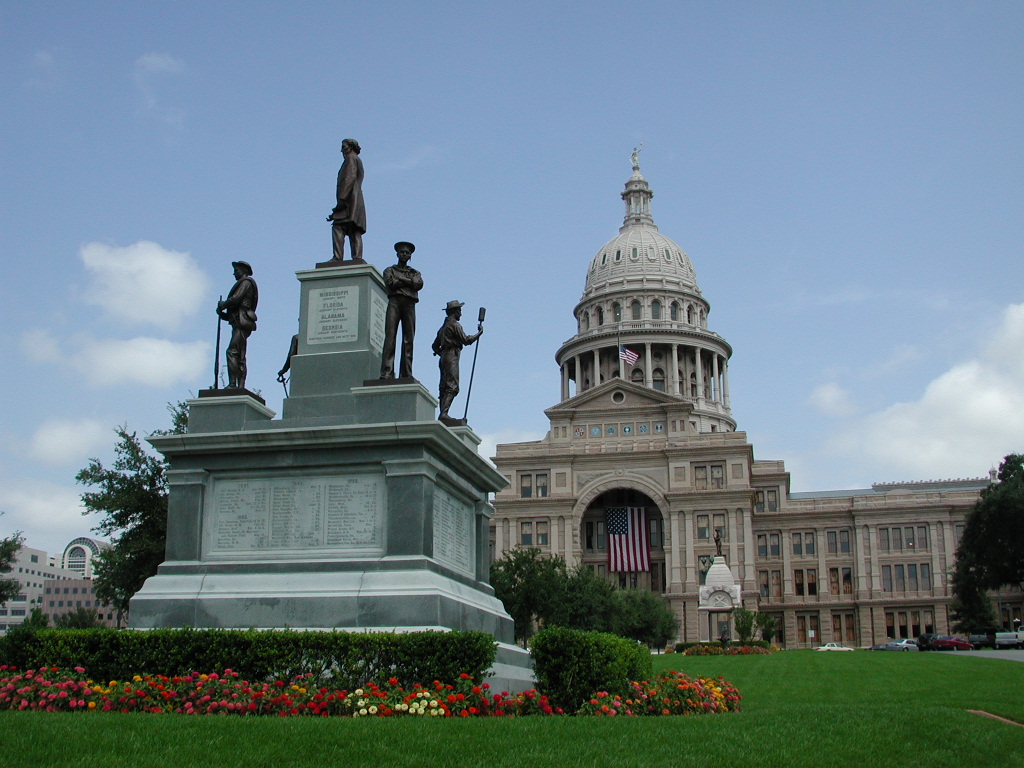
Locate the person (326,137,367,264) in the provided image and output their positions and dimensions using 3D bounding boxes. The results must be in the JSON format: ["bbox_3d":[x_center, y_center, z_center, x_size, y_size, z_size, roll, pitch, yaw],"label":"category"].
[{"bbox_3d":[-3.797,-4.292,26.368,0.777,3.289,1.383,2,-16,-8],"label":"person"}]

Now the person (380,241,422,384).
[{"bbox_3d":[-2.488,-1.563,25.331,0.829,3.287,1.218,2,-16,-7],"label":"person"}]

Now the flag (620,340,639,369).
[{"bbox_3d":[12.556,-3.184,123.280,2.818,3.117,0.328,34,-61,-3],"label":"flag"}]

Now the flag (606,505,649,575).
[{"bbox_3d":[10.854,14.665,107.483,5.665,8.197,0.450,-2,-9,6],"label":"flag"}]
